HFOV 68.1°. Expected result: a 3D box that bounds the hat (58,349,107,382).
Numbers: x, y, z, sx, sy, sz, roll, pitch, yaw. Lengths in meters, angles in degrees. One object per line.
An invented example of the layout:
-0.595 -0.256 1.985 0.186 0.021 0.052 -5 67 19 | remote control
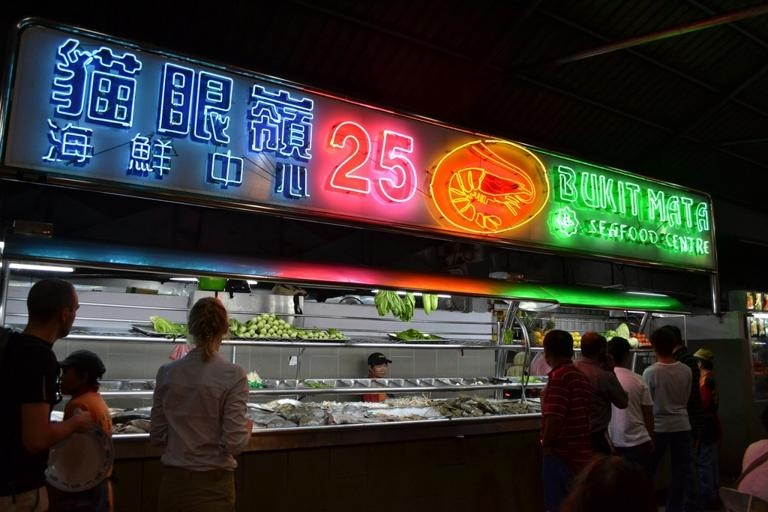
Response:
-2.432 0.839 4.564 0.369 0.168 0.256 15 -24 -21 | hat

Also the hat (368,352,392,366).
-0.072 1.399 7.687 0.279 0.141 0.206 -6 -7 36 | hat
